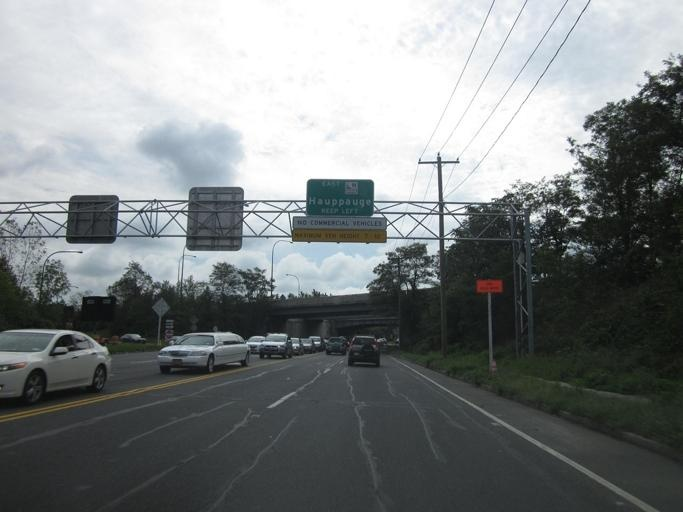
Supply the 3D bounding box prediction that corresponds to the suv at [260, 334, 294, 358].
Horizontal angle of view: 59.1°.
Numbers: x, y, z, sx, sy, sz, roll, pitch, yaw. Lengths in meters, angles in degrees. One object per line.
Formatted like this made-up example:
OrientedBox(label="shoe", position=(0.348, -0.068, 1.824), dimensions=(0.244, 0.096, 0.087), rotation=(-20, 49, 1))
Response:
OrientedBox(label="suv", position=(-4.356, 6.118, 40.078), dimensions=(1.596, 1.497, 3.051), rotation=(2, -2, 6))
